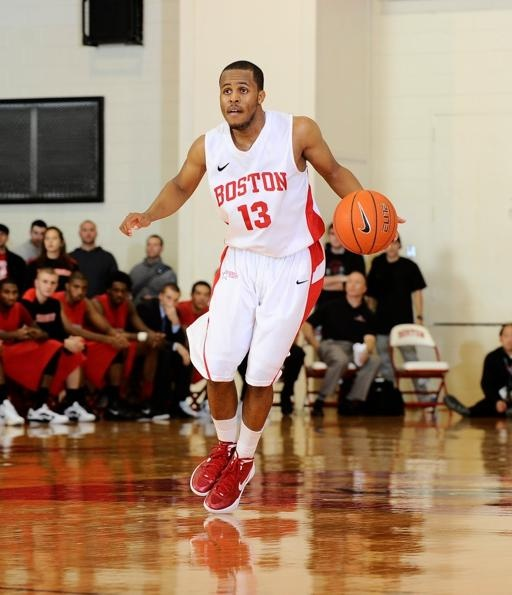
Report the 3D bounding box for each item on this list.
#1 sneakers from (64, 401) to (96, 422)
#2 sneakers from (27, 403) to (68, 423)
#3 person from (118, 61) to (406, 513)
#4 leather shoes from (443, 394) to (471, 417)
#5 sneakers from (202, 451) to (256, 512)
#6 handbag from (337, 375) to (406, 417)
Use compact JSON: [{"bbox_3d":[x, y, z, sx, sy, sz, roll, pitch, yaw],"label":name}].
[{"bbox_3d":[-1.111,0.746,6.013,0.185,0.133,0.253,0,1,-25],"label":"sneakers"},{"bbox_3d":[-1.291,0.730,5.767,0.281,0.127,0.289,1,1,-2],"label":"sneakers"},{"bbox_3d":[-0.020,-0.042,2.794,0.660,1.294,0.425,1,0,7],"label":"person"},{"bbox_3d":[1.526,0.832,7.162,0.254,0.091,0.089,48,14,31],"label":"leather shoes"},{"bbox_3d":[-0.076,0.529,2.702,0.065,0.084,0.215,25,18,5],"label":"sneakers"},{"bbox_3d":[0.873,0.746,7.244,0.412,0.318,0.319,1,-2,-23],"label":"handbag"}]
